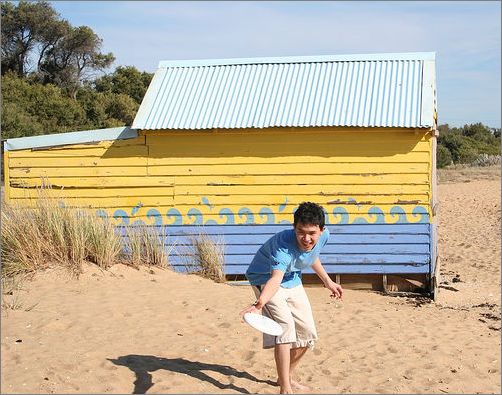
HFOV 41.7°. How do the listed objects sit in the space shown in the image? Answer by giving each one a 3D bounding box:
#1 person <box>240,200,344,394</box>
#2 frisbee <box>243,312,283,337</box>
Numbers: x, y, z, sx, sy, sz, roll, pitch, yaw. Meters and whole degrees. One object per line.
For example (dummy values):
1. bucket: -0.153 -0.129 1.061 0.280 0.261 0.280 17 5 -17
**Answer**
1. person: 0.457 1.249 8.166 1.245 2.504 0.697 -6 16 -34
2. frisbee: 0.141 1.445 7.565 0.320 0.108 0.347 27 -3 39
